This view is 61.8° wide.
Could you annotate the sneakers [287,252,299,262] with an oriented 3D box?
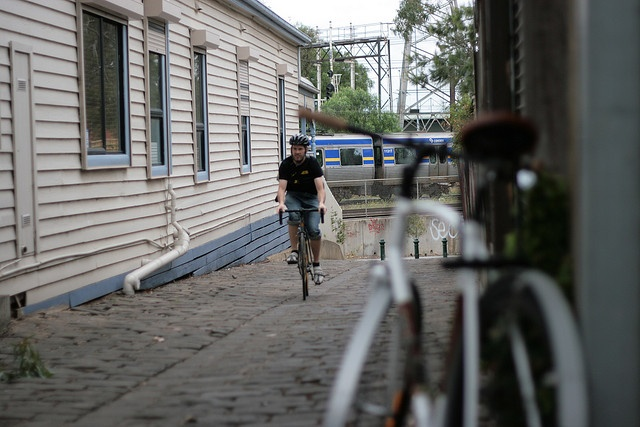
[{"bbox_3d":[-0.457,0.748,9.118,0.160,0.168,0.311,0,3,5],"label":"sneakers"}]
